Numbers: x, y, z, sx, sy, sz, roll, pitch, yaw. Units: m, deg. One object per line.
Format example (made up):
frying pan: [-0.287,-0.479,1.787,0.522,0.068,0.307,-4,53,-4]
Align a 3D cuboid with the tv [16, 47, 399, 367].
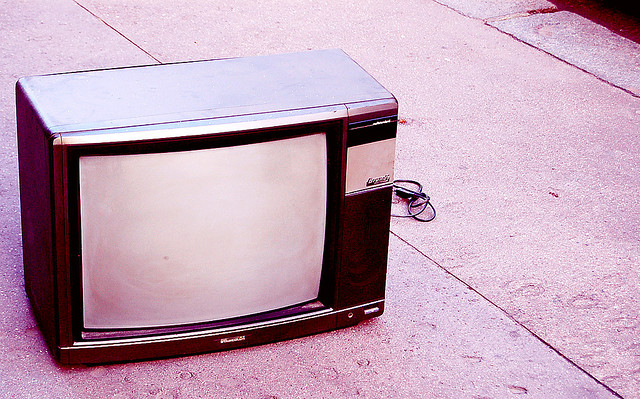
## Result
tv: [-0.336,0.037,1.941,1.163,0.864,0.465,-8,30,-13]
